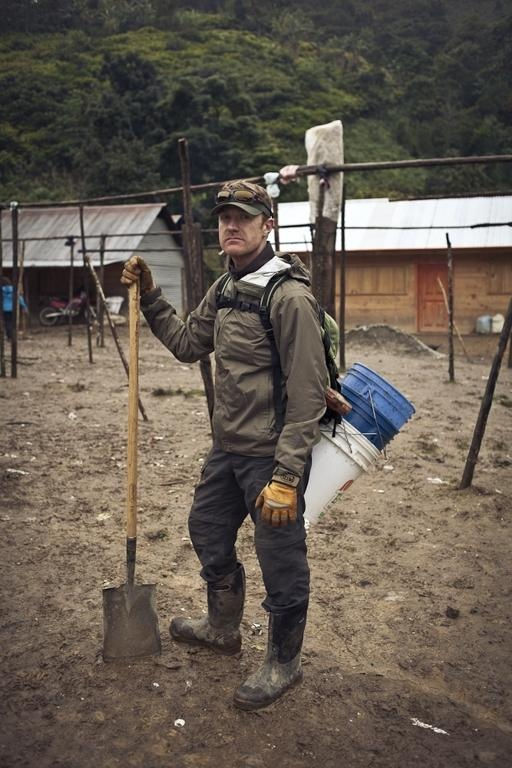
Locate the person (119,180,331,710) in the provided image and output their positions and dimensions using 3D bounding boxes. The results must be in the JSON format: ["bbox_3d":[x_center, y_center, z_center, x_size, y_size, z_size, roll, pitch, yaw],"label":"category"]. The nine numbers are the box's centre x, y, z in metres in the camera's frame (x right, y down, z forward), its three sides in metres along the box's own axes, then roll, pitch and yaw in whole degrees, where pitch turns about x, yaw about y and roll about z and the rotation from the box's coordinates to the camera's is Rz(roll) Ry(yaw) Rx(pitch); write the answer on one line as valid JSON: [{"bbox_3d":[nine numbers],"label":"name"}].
[{"bbox_3d":[-0.082,0.255,5.311,0.635,2.454,0.987,-11,17,-34],"label":"person"}]

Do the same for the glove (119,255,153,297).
[{"bbox_3d":[-0.611,-0.561,5.466,0.064,0.202,0.148,20,44,35],"label":"glove"}]

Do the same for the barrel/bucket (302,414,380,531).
[{"bbox_3d":[0.388,0.444,5.735,0.396,0.483,0.402,29,-3,2],"label":"barrel/bucket"}]

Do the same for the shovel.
[{"bbox_3d":[-0.648,0.504,5.512,0.314,1.764,0.125,-6,-12,14],"label":"shovel"}]

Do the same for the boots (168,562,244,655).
[{"bbox_3d":[-0.254,1.152,5.554,0.457,0.469,0.218,7,10,29],"label":"boots"}]

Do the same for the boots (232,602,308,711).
[{"bbox_3d":[0.067,1.319,5.209,0.187,0.476,0.479,17,22,38],"label":"boots"}]

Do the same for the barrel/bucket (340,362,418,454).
[{"bbox_3d":[0.645,0.164,5.785,0.340,0.413,0.455,-40,62,-13],"label":"barrel/bucket"}]
